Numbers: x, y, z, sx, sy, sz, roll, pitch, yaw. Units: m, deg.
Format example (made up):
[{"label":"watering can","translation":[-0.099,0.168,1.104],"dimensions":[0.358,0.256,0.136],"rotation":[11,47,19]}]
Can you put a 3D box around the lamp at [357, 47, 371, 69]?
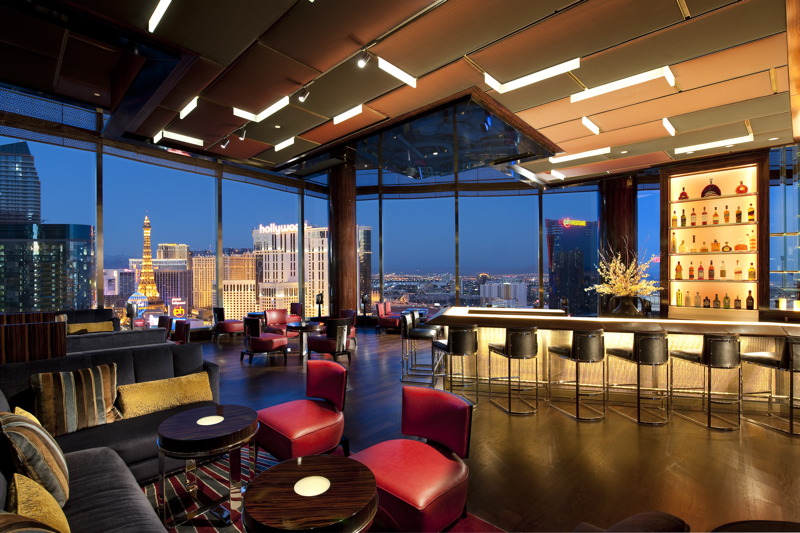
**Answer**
[{"label":"lamp","translation":[-0.516,-2.948,8.068],"dimensions":[0.176,0.172,0.314],"rotation":[34,-5,-6]}]

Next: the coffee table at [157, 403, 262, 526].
[{"label":"coffee table","translation":[-2.371,2.241,7.205],"dimensions":[1.224,1.280,1.265],"rotation":[3,3,37]}]

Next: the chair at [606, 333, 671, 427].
[{"label":"chair","translation":[3.757,1.659,8.696],"dimensions":[0.675,1.445,0.900],"rotation":[-2,-1,40]}]

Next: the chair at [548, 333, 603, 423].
[{"label":"chair","translation":[2.744,1.651,8.887],"dimensions":[0.873,1.380,0.915],"rotation":[-2,-1,18]}]

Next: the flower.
[{"label":"flower","translation":[3.979,0.084,10.404],"dimensions":[0.883,0.767,1.281],"rotation":[-1,2,-20]}]

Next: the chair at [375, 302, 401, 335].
[{"label":"chair","translation":[-0.307,1.267,14.236],"dimensions":[0.545,0.664,0.946],"rotation":[-2,-1,-2]}]

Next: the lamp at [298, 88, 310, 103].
[{"label":"lamp","translation":[-1.514,-2.674,8.886],"dimensions":[0.172,0.138,0.323],"rotation":[-1,-1,-30]}]

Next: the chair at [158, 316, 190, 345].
[{"label":"chair","translation":[-4.201,1.198,10.524],"dimensions":[0.426,0.613,0.512],"rotation":[-2,-11,5]}]

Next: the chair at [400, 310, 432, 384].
[{"label":"chair","translation":[0.290,1.573,10.762],"dimensions":[0.391,0.740,1.201],"rotation":[-1,0,4]}]

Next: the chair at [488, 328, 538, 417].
[{"label":"chair","translation":[1.808,1.615,9.077],"dimensions":[0.837,1.295,0.922],"rotation":[-2,-1,12]}]

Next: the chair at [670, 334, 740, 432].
[{"label":"chair","translation":[4.666,1.679,8.593],"dimensions":[0.881,1.550,0.947],"rotation":[-2,-1,38]}]

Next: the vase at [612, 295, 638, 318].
[{"label":"vase","translation":[3.920,0.718,9.952],"dimensions":[0.369,0.322,0.367],"rotation":[0,-6,3]}]
